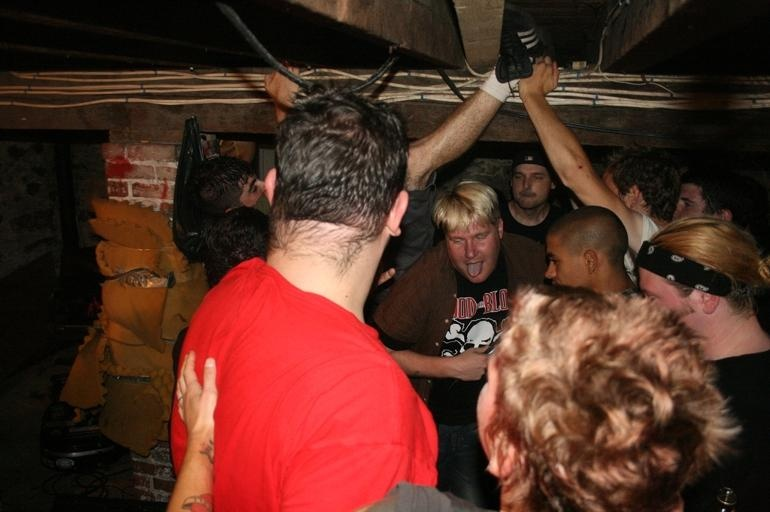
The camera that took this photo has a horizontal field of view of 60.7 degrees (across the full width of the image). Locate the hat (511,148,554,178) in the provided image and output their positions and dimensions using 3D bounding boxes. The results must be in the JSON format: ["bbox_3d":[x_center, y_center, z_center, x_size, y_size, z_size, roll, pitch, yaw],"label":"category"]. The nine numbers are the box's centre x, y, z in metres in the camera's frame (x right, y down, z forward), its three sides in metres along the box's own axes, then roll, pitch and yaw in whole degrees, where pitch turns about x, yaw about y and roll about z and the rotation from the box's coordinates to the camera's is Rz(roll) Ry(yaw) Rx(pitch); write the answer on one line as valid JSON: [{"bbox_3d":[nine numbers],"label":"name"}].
[{"bbox_3d":[1.467,-0.916,6.497,0.311,0.166,0.297,0,11,-43],"label":"hat"}]
